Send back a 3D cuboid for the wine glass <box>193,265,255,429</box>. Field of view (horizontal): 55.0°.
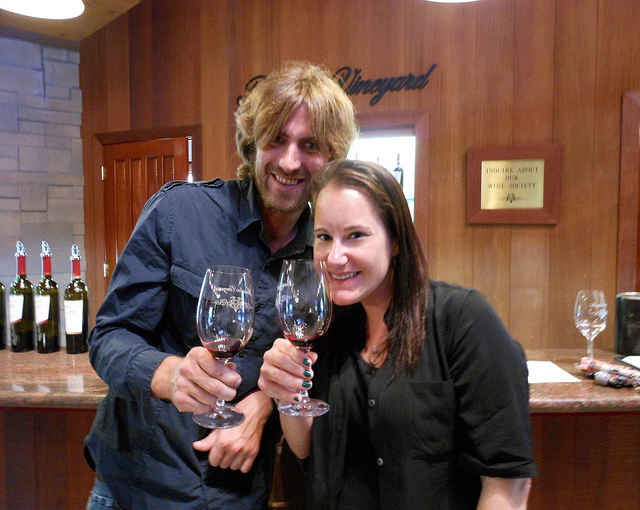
[{"bbox_3d":[-0.316,0.302,2.024,0.179,0.528,0.180,-2,-1,29],"label":"wine glass"}]

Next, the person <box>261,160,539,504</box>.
[{"bbox_3d":[0.257,0.276,2.233,0.929,1.007,0.364,-1,-1,-1],"label":"person"}]
